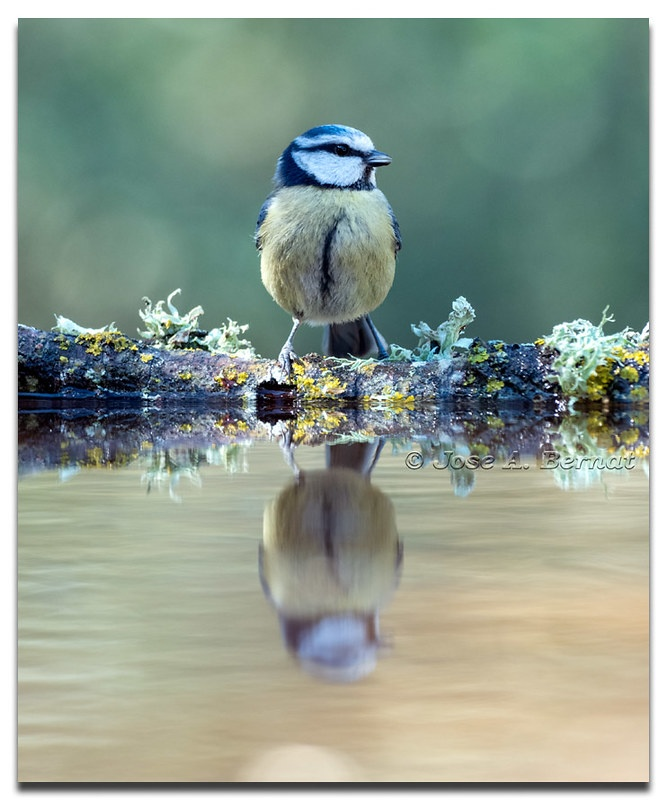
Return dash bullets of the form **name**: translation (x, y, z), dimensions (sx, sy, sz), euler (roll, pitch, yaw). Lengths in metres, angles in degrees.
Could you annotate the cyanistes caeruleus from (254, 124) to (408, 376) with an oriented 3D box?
- **cyanistes caeruleus**: translation (-0.053, -0.847, 5.053), dimensions (0.661, 0.934, 0.370), euler (1, 3, 3)
